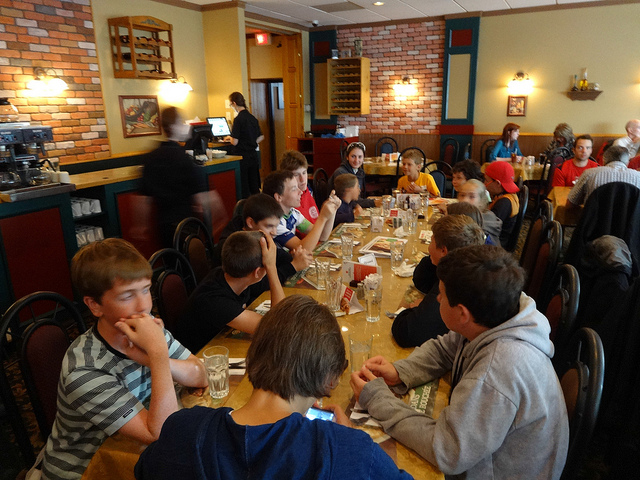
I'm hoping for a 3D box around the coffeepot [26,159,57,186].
[{"bbox_3d":[-2.397,-0.601,3.698,0.179,0.196,0.352,-6,20,-15],"label":"coffeepot"}]

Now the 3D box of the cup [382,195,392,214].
[{"bbox_3d":[0.660,-0.355,4.235,0.087,0.134,0.225,2,19,7],"label":"cup"}]

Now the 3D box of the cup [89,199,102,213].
[{"bbox_3d":[-2.189,-0.332,4.179,0.070,0.122,0.120,10,16,28],"label":"cup"}]

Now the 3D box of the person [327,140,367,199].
[{"bbox_3d":[0.406,-0.770,5.229,0.528,0.827,0.653,1,14,-4],"label":"person"}]

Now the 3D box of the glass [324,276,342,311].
[{"bbox_3d":[0.058,0.281,2.251,0.103,0.177,0.112,3,-17,-30],"label":"glass"}]

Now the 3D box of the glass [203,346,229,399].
[{"bbox_3d":[-0.399,0.504,1.667,0.087,0.160,0.157,-6,19,-17],"label":"glass"}]

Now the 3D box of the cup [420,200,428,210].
[{"bbox_3d":[1.040,-0.355,4.331,0.073,0.130,0.077,-2,16,1],"label":"cup"}]

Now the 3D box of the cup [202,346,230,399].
[{"bbox_3d":[-0.393,0.511,1.674,0.105,0.181,0.110,-8,-9,-1],"label":"cup"}]

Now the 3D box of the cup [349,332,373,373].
[{"bbox_3d":[0.163,0.471,1.765,0.092,0.155,0.094,0,7,0],"label":"cup"}]

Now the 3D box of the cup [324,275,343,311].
[{"bbox_3d":[0.044,0.285,2.250,0.115,0.193,0.122,0,-13,0],"label":"cup"}]

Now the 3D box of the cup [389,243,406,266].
[{"bbox_3d":[0.496,0.092,2.739,0.114,0.156,0.116,-1,4,0],"label":"cup"}]

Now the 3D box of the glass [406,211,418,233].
[{"bbox_3d":[0.725,-0.146,3.434,0.080,0.166,0.079,-1,18,-2],"label":"glass"}]

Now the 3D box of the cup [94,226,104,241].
[{"bbox_3d":[-2.175,-0.059,4.219,0.080,0.110,0.236,-10,21,-26],"label":"cup"}]

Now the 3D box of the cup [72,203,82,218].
[{"bbox_3d":[-2.271,-0.272,4.024,0.089,0.128,0.109,-1,7,5],"label":"cup"}]

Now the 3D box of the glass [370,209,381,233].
[{"bbox_3d":[0.464,-0.167,3.598,0.078,0.135,0.248,2,19,6],"label":"glass"}]

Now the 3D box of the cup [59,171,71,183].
[{"bbox_3d":[-2.230,-0.550,3.760,0.078,0.096,0.082,-1,21,0],"label":"cup"}]
